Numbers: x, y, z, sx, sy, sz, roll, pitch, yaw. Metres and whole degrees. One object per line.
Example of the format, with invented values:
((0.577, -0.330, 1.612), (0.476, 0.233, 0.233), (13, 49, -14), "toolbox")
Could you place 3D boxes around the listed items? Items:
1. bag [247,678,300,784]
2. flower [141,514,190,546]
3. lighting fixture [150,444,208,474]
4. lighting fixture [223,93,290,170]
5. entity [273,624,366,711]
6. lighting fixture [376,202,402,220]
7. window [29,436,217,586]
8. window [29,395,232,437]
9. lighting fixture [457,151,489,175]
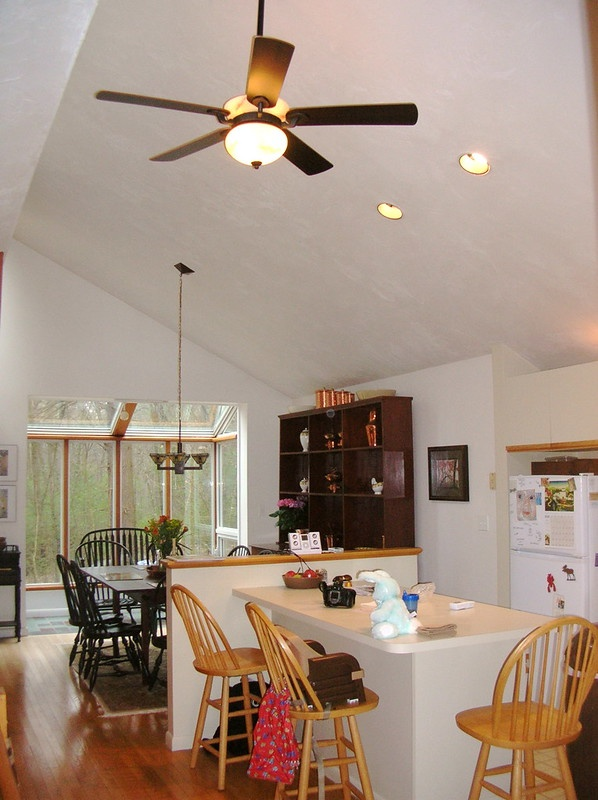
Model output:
((-0.082, 1.237, 2.402), (0.221, 0.321, 0.101), (0, 0, 18), "bag")
((-1.178, 1.130, 5.713), (0.293, 0.256, 0.651), (-1, -6, -8), "flower")
((-1.267, 0.607, 6.703), (0.624, 0.371, 0.616), (2, -4, -38), "lighting fixture")
((-0.132, -0.836, 2.072), (0.217, 0.120, 0.214), (-5, -14, 15), "lighting fixture")
((0.091, 1.008, 2.562), (0.283, 0.329, 0.263), (-7, -6, -20), "entity")
((0.532, -1.100, 3.786), (0.143, 0.078, 0.148), (-2, -5, 7), "lighting fixture")
((-2.094, 1.194, 7.171), (1.919, 1.322, 0.067), (1, -5, -26), "window")
((-1.994, 0.241, 7.900), (2.359, 0.448, 1.080), (2, -6, -28), "window")
((0.852, -1.142, 3.141), (0.143, 0.075, 0.133), (-3, -6, 20), "lighting fixture")
